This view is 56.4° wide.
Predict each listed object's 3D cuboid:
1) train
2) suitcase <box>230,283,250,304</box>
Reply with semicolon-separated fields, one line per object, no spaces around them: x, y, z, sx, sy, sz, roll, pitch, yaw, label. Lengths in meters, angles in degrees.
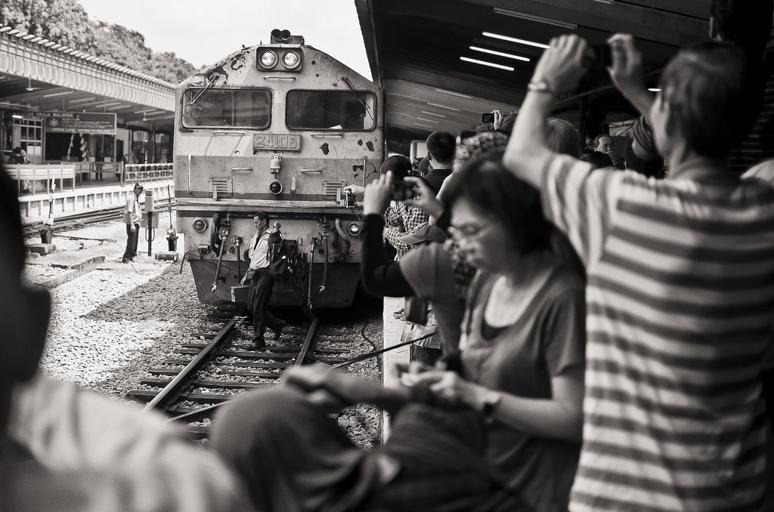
-1.432;-1.545;13.074;2.278;3.109;5.309;0;0;6;train
-2.088;0.544;10.194;0.383;0.283;0.212;-1;-5;-43;suitcase
